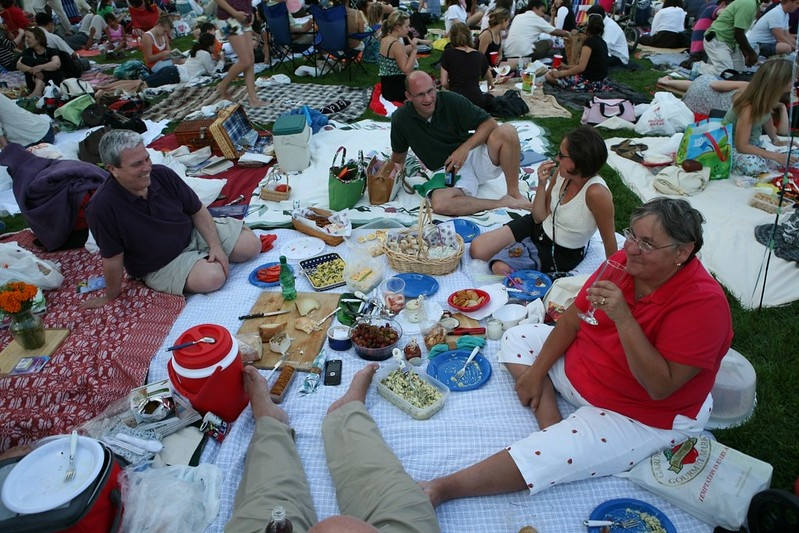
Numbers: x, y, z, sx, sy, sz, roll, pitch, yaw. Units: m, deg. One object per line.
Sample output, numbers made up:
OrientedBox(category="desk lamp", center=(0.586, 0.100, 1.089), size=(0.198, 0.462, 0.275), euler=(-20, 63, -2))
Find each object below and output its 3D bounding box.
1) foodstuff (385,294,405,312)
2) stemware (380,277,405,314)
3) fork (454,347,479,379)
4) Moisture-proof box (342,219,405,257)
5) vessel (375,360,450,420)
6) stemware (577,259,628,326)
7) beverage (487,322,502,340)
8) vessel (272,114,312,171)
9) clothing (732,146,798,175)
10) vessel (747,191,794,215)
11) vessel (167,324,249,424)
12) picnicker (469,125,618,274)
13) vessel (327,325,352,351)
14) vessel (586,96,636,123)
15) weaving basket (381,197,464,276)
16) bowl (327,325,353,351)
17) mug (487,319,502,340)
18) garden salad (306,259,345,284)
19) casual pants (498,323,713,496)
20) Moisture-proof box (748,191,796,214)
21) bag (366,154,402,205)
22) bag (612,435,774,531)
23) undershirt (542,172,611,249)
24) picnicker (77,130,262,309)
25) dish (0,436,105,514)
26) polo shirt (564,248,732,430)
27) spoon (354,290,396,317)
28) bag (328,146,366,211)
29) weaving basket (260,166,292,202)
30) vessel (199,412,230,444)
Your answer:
OrientedBox(category="foodstuff", center=(-0.052, 0.387, 5.752), size=(0.164, 0.081, 0.201), euler=(-1, 40, 0))
OrientedBox(category="stemware", center=(-0.062, 0.293, 5.817), size=(0.312, 0.474, 0.319), euler=(3, 39, 9))
OrientedBox(category="fork", center=(0.660, 0.960, 5.189), size=(0.095, 0.103, 0.571), euler=(17, 49, 20))
OrientedBox(category="Moisture-proof box", center=(-0.358, -0.364, 6.573), size=(0.552, 0.151, 0.565), euler=(2, 46, 23))
OrientedBox(category="vessel", center=(0.091, 1.161, 4.984), size=(0.616, 0.207, 0.399), euler=(27, 45, 34))
OrientedBox(category="stemware", center=(1.670, 0.243, 4.388), size=(0.221, 0.629, 0.372), euler=(25, 50, 26))
OrientedBox(category="beverage", center=(0.972, 0.660, 5.507), size=(0.170, 0.174, 0.165), euler=(-2, 30, 4))
OrientedBox(category="vessel", center=(-1.632, -1.872, 7.961), size=(0.483, 0.657, 0.653), euler=(-3, 44, -1))
OrientedBox(category="clothing", center=(5.086, -1.491, 7.394), size=(0.731, 0.227, 0.705), euler=(11, 22, 42))
OrientedBox(category="vessel", center=(4.783, -0.823, 6.785), size=(0.356, 0.139, 0.409), euler=(-35, 42, -28))
OrientedBox(category="vessel", center=(-1.753, 1.017, 4.806), size=(0.462, 0.667, 0.498), euler=(-27, 47, -22))
OrientedBox(category="picnicker", center=(1.698, -0.717, 5.906), size=(1.837, 1.600, 0.891), euler=(-10, 33, -5))
OrientedBox(category="vessel", center=(-0.615, 0.725, 5.412), size=(0.231, 0.146, 0.236), euler=(21, 39, 22))
OrientedBox(category="vessel", center=(3.695, -2.791, 9.331), size=(0.609, 0.282, 0.540), euler=(3, 25, 15))
OrientedBox(category="weaving basket", center=(0.285, -0.264, 6.347), size=(0.980, 0.848, 0.765), euler=(-2, 50, 4))
OrientedBox(category="bowl", center=(-0.615, 0.721, 5.415), size=(0.231, 0.147, 0.236), euler=(2, 36, -1))
OrientedBox(category="mug", center=(0.974, 0.642, 5.482), size=(0.142, 0.192, 0.196), euler=(-4, 26, 11))
OrientedBox(category="garden salad", center=(-0.842, 0.083, 6.142), size=(0.294, 0.051, 0.298), euler=(-23, 45, -21))
OrientedBox(category="casual pants", center=(1.651, 1.377, 4.491), size=(1.502, 0.463, 1.328), euler=(-2, 37, 5))
OrientedBox(category="Moisture-proof box", center=(4.795, -0.825, 6.777), size=(0.421, 0.145, 0.367), euler=(24, 47, 38))
OrientedBox(category="bag", center=(-0.210, -1.280, 7.579), size=(0.381, 0.466, 1.092), euler=(14, 25, -3))
OrientedBox(category="bag", center=(2.461, 1.724, 4.319), size=(0.743, 0.225, 0.816), euler=(-38, 48, -21))
OrientedBox(category="undershirt", center=(1.900, -0.626, 5.727), size=(0.379, 0.668, 0.490), euler=(-21, 51, -10))
OrientedBox(category="picnicker", center=(-2.610, -0.556, 5.958), size=(2.332, 1.746, 1.422), euler=(-14, 43, -29))
OrientedBox(category="dish", center=(-2.704, 1.623, 4.106), size=(0.710, 0.108, 0.517), euler=(-14, 46, -12))
OrientedBox(category="polo shirt", center=(2.048, 0.661, 4.350), size=(0.845, 1.102, 1.159), euler=(-5, 40, -4))
OrientedBox(category="spoon", center=(-0.267, 0.425, 5.730), size=(0.380, 0.120, 0.256), euler=(17, 33, 27))
OrientedBox(category="bag", center=(-0.708, -1.245, 7.392), size=(0.493, 0.884, 0.880), euler=(4, 4, 11))
OrientedBox(category="weaving basket", center=(-1.798, -1.194, 7.537), size=(0.437, 0.346, 0.431), euler=(39, 20, 22))
OrientedBox(category="vessel", center=(-1.690, 1.473, 4.820), size=(0.292, 0.146, 0.209), euler=(32, 65, 15))
